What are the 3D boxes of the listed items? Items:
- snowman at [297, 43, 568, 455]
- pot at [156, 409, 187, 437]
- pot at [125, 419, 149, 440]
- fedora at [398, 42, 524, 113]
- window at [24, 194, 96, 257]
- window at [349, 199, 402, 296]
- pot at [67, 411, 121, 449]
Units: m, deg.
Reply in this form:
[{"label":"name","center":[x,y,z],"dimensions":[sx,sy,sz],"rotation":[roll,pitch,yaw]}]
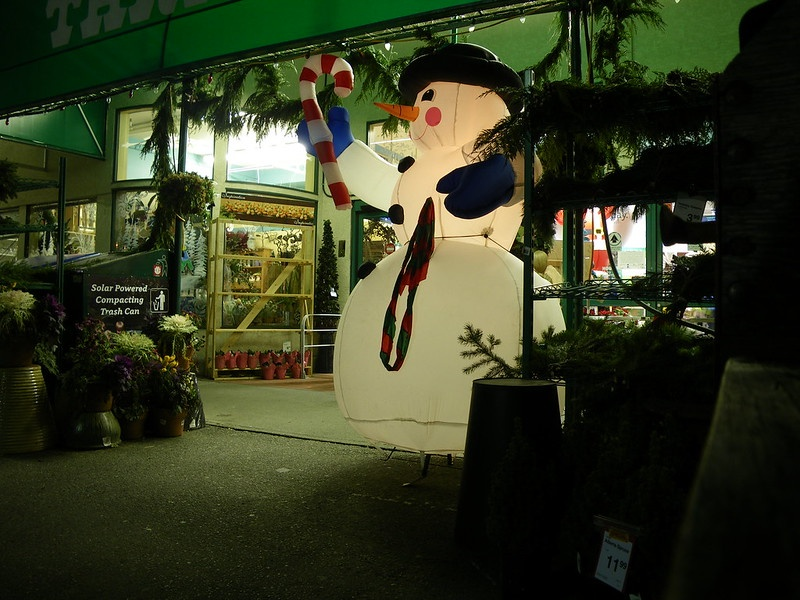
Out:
[{"label":"snowman","center":[0.183,-0.302,3.804],"dimensions":[0.727,2.309,1.608],"rotation":[1,3,-43]},{"label":"pot","center":[-1.646,0.880,4.899],"dimensions":[0.179,0.150,0.187],"rotation":[0,-10,0]},{"label":"pot","center":[-1.875,0.897,4.793],"dimensions":[0.161,0.169,0.106],"rotation":[2,3,-35]},{"label":"fedora","center":[0.412,-1.377,4.019],"dimensions":[0.625,0.281,0.667],"rotation":[-3,11,-16]},{"label":"window","center":[-5.852,-1.237,11.781],"dimensions":[0.705,0.979,2.577],"rotation":[1,4,-39]},{"label":"window","center":[-0.071,-0.905,10.900],"dimensions":[1.381,1.702,0.112],"rotation":[-8,43,-7]},{"label":"pot","center":[-2.047,0.907,4.598],"dimensions":[0.329,0.252,0.329],"rotation":[-15,-18,-5]}]
